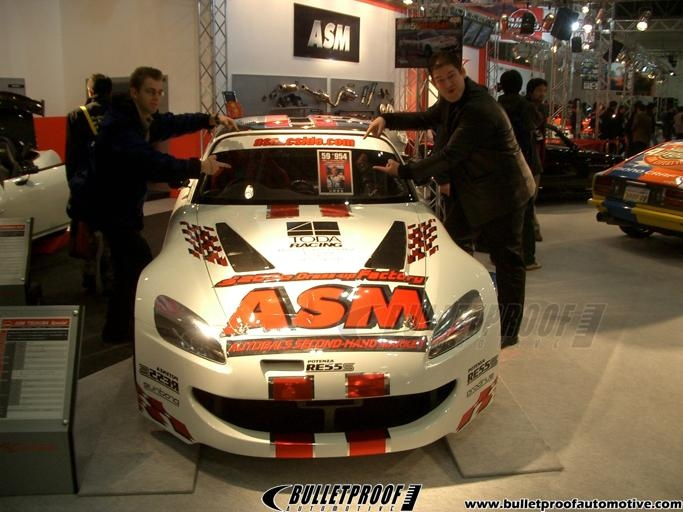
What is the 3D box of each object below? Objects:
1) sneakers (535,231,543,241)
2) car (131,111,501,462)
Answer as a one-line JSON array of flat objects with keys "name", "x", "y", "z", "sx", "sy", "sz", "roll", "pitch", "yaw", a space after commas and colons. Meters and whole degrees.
[{"name": "sneakers", "x": 2.497, "y": -0.264, "z": 6.328, "sx": 0.057, "sy": 0.142, "sz": 0.115, "roll": 28, "pitch": -28, "yaw": -18}, {"name": "car", "x": -0.192, "y": 0.019, "z": 3.141, "sx": 1.374, "sy": 0.790, "sz": 2.459, "roll": -1, "pitch": 29, "yaw": -5}]
